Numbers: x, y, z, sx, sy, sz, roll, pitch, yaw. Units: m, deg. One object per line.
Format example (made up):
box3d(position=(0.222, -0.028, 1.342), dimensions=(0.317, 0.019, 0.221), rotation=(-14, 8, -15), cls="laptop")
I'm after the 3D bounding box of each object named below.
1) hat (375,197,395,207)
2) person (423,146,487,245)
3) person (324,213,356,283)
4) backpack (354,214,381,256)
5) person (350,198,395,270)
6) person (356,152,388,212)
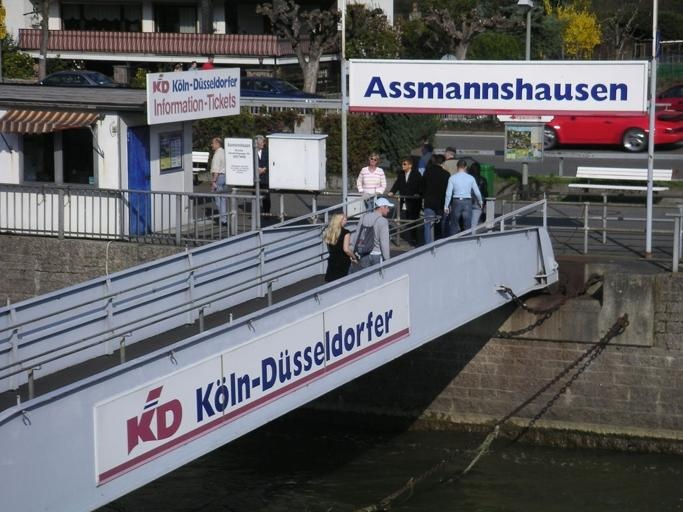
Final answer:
box3d(position=(0.905, -1.104, 36.376), dimensions=(0.306, 0.182, 0.221), rotation=(1, 7, -14), cls="hat")
box3d(position=(2.407, -1.214, 39.023), dimensions=(0.901, 1.917, 1.517), rotation=(-10, 12, -42), cls="person")
box3d(position=(-0.055, -0.148, 35.859), dimensions=(0.664, 1.441, 0.604), rotation=(-2, 9, 4), cls="person")
box3d(position=(0.530, -0.302, 36.614), dimensions=(0.423, 0.768, 0.752), rotation=(3, -16, 12), cls="backpack")
box3d(position=(0.686, -0.452, 36.559), dimensions=(0.766, 1.484, 0.817), rotation=(8, 9, 15), cls="person")
box3d(position=(0.627, -1.430, 39.936), dimensions=(0.657, 1.832, 0.504), rotation=(2, 18, -6), cls="person")
